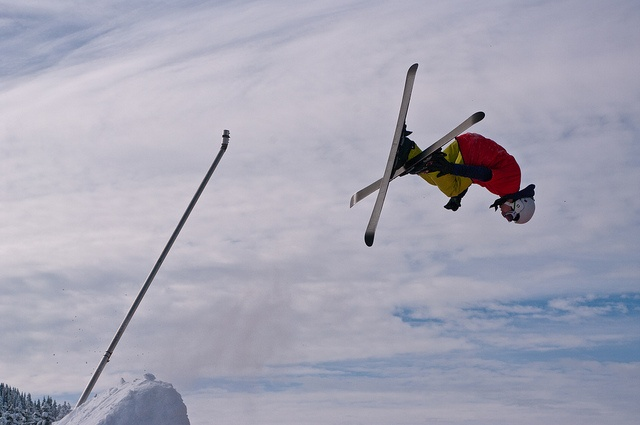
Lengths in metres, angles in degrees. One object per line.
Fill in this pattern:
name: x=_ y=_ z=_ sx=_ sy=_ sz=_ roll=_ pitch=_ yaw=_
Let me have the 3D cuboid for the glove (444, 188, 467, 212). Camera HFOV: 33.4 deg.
glove: x=2.195 y=-0.258 z=17.296 sx=0.158 sy=0.407 sz=0.300 roll=39 pitch=27 yaw=29
